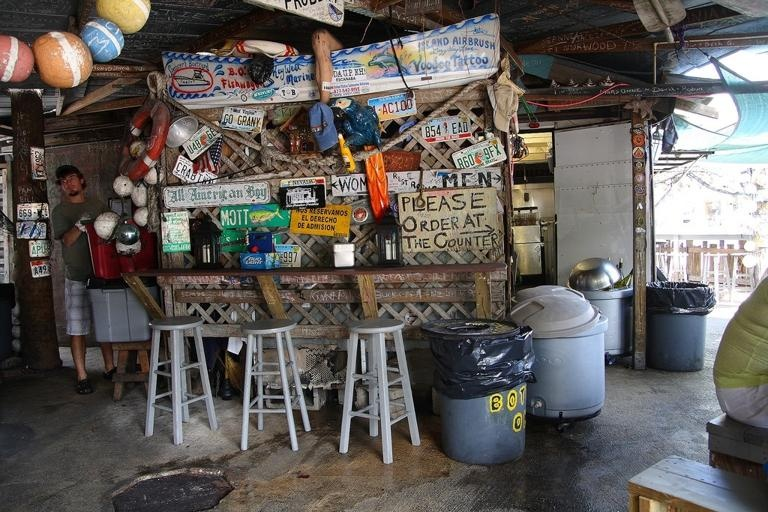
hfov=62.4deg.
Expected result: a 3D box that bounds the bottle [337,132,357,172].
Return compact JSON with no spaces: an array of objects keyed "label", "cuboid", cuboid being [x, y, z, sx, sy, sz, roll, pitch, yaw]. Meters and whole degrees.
[{"label":"bottle","cuboid":[-0.370,-1.028,6.356,0.164,0.381,0.165,-3,5,0]}]

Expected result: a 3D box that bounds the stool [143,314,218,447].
[{"label":"stool","cuboid":[-2.084,0.965,6.251,0.558,0.813,0.561,-21,26,-25]}]

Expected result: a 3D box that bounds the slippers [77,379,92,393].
[{"label":"slippers","cuboid":[-3.346,1.442,7.032,0.159,0.162,0.179,-5,5,-25]}]

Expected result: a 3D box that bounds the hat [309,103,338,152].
[{"label":"hat","cuboid":[-0.597,-1.277,6.230,0.286,0.461,0.185,-14,21,6]}]

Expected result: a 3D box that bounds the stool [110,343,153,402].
[{"label":"stool","cuboid":[-2.850,1.244,6.891,0.572,0.572,0.494,-6,-11,37]}]

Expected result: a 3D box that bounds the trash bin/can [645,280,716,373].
[{"label":"trash bin/can","cuboid":[3.330,0.818,7.733,0.987,1.106,0.984,-2,2,-13]}]

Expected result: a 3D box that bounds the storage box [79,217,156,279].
[{"label":"storage box","cuboid":[-2.853,-0.089,7.005,0.596,0.601,0.705,-8,8,3]}]

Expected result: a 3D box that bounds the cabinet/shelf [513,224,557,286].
[{"label":"cabinet/shelf","cuboid":[2.980,-0.033,12.409,0.765,1.198,0.489,-3,5,10]}]

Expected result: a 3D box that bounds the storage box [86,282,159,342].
[{"label":"storage box","cuboid":[-2.758,0.595,6.938,0.794,0.631,0.598,-2,0,5]}]

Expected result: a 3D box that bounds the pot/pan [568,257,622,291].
[{"label":"pot/pan","cuboid":[2.566,0.239,7.595,0.483,0.213,0.459,-4,2,-7]}]
